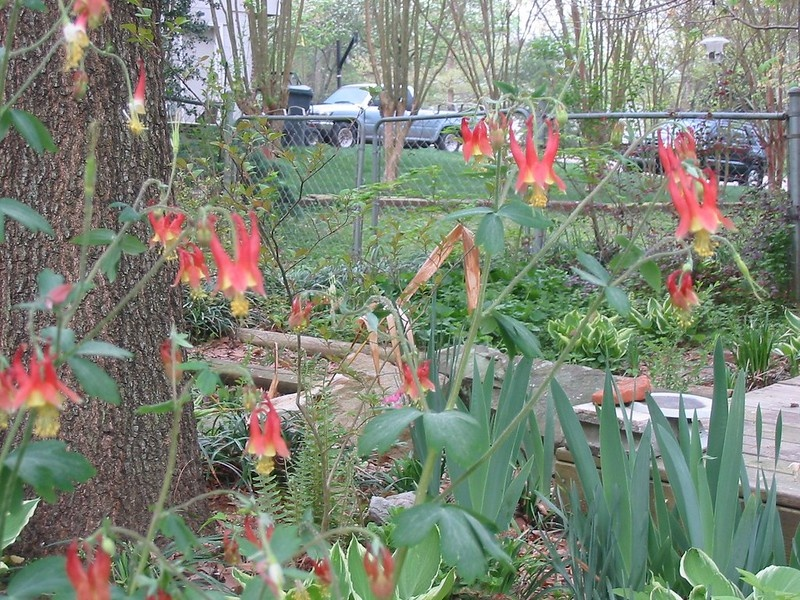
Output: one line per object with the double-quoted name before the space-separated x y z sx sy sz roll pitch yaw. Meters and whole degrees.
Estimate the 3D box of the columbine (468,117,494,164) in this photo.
"columbine" 0.278 -0.595 3.338 0.127 0.157 0.126 1 5 -8

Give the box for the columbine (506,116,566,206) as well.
"columbine" 0.447 -0.471 3.084 0.180 0.315 0.371 2 2 7

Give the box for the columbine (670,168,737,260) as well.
"columbine" 0.895 -0.269 2.777 0.183 0.270 0.262 3 2 20
